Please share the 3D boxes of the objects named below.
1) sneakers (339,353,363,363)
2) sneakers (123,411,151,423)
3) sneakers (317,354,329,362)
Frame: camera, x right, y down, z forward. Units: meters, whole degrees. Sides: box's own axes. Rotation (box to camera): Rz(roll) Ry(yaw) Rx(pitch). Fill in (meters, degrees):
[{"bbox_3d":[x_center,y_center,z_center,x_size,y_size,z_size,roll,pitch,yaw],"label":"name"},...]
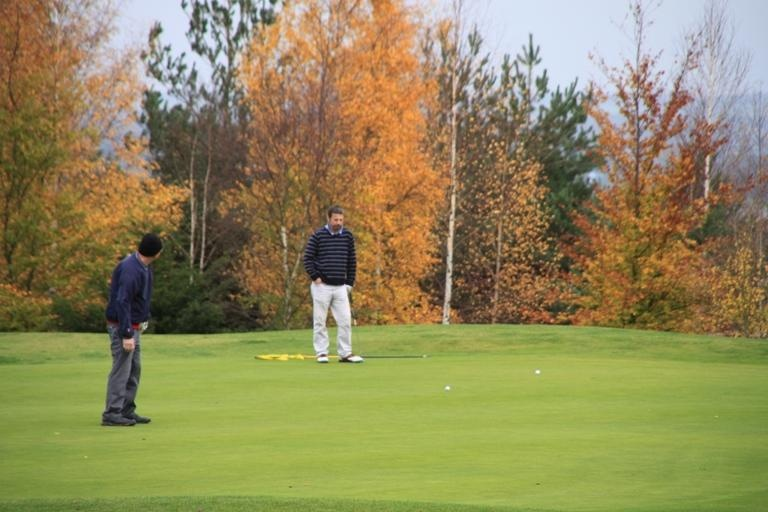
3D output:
[{"bbox_3d":[-0.948,2.948,33.773,0.532,0.207,0.283,-2,-2,11],"label":"sneakers"},{"bbox_3d":[-6.262,4.073,29.614,0.688,0.290,0.230,1,5,-4],"label":"sneakers"},{"bbox_3d":[-1.767,2.934,33.633,0.327,0.237,0.249,0,-5,-1],"label":"sneakers"}]
